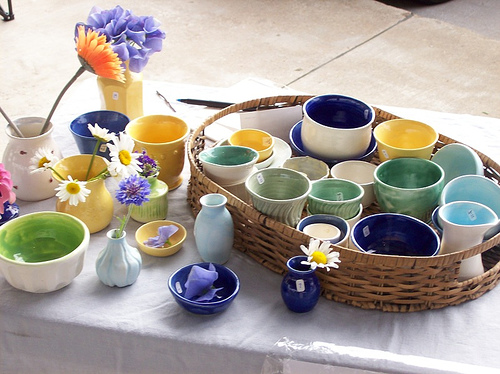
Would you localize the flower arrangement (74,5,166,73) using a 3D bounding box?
[{"bbox_3d":[-0.300,-0.370,1.125,0.197,0.109,0.185,-16,61,-42],"label":"flower arrangement"}]

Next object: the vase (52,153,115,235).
[{"bbox_3d":[-0.339,0.016,0.910,0.111,0.119,0.104,34,55,13],"label":"vase"}]

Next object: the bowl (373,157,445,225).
[{"bbox_3d":[0.335,0.008,1.031,0.161,0.121,0.156,-4,40,3],"label":"bowl"}]

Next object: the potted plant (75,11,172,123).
[{"bbox_3d":[-0.300,-0.302,1.137,0.187,0.260,0.109,-10,42,-14],"label":"potted plant"}]

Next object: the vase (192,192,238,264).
[{"bbox_3d":[-0.062,0.085,0.884,0.092,0.127,0.079,-16,43,-20],"label":"vase"}]

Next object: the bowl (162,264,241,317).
[{"bbox_3d":[-0.083,0.184,0.805,0.112,0.056,0.100,-20,38,-33],"label":"bowl"}]

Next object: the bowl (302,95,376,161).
[{"bbox_3d":[0.195,-0.146,1.099,0.190,0.127,0.171,-4,43,-6],"label":"bowl"}]

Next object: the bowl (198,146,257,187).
[{"bbox_3d":[-0.049,-0.069,0.964,0.103,0.045,0.102,0,34,0],"label":"bowl"}]

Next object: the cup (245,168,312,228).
[{"bbox_3d":[0.051,0.007,0.894,0.130,0.090,0.121,3,43,-2],"label":"cup"}]

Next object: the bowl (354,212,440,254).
[{"bbox_3d":[0.287,0.094,0.836,0.107,0.040,0.104,1,39,-1],"label":"bowl"}]

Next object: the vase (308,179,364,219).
[{"bbox_3d":[0.180,0.021,0.933,0.098,0.044,0.087,-19,40,-34],"label":"vase"}]

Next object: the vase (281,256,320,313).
[{"bbox_3d":[0.101,0.185,0.804,0.065,0.078,0.064,-7,-1,22],"label":"vase"}]

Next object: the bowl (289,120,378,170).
[{"bbox_3d":[0.203,-0.104,1.108,0.148,0.048,0.135,1,40,-1],"label":"bowl"}]

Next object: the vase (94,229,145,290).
[{"bbox_3d":[-0.255,0.135,0.857,0.095,0.084,0.093,12,16,27],"label":"vase"}]

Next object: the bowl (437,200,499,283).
[{"bbox_3d":[0.396,0.101,0.819,0.111,0.114,0.082,-34,46,-19],"label":"bowl"}]

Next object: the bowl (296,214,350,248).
[{"bbox_3d":[0.144,0.077,0.861,0.081,0.027,0.068,16,40,19],"label":"bowl"}]

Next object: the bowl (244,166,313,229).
[{"bbox_3d":[0.054,0.021,0.893,0.119,0.078,0.119,1,39,-1],"label":"bowl"}]

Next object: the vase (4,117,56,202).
[{"bbox_3d":[-0.494,-0.069,1.009,0.112,0.176,0.129,-7,41,-10],"label":"vase"}]

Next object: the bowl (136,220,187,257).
[{"bbox_3d":[-0.186,0.110,0.926,0.100,0.036,0.100,4,25,-2],"label":"bowl"}]

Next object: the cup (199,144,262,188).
[{"bbox_3d":[-0.052,-0.055,0.972,0.102,0.048,0.112,1,35,-1],"label":"cup"}]

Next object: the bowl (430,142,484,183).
[{"bbox_3d":[0.464,-0.057,1.017,0.093,0.082,0.053,-23,4,38],"label":"bowl"}]

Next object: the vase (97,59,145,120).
[{"bbox_3d":[-0.321,-0.242,1.103,0.097,0.121,0.071,40,58,15],"label":"vase"}]

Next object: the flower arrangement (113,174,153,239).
[{"bbox_3d":[-0.232,0.040,0.896,0.076,0.118,0.073,5,52,-26],"label":"flower arrangement"}]

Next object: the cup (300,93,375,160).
[{"bbox_3d":[0.213,-0.151,1.082,0.196,0.130,0.173,-7,40,-10],"label":"cup"}]

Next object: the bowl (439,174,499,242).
[{"bbox_3d":[0.431,0.045,0.956,0.130,0.099,0.129,0,52,0],"label":"bowl"}]

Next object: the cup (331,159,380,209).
[{"bbox_3d":[0.229,-0.012,1.066,0.118,0.084,0.114,0,40,0],"label":"cup"}]

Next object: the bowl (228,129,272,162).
[{"bbox_3d":[0.004,-0.121,1.052,0.094,0.052,0.088,6,46,-7],"label":"bowl"}]

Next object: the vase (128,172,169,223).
[{"bbox_3d":[-0.212,0.024,0.919,0.071,0.074,0.070,38,52,22],"label":"vase"}]

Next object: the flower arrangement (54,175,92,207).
[{"bbox_3d":[-0.326,0.009,0.831,0.068,0.061,0.030,22,-1,-12],"label":"flower arrangement"}]

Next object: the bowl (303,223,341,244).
[{"bbox_3d":[0.145,0.090,0.850,0.044,0.013,0.041,7,24,-3],"label":"bowl"}]

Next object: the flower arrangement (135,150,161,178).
[{"bbox_3d":[-0.209,-0.054,0.966,0.031,0.050,0.053,-33,13,-9],"label":"flower arrangement"}]

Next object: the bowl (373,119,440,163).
[{"bbox_3d":[0.363,-0.089,1.067,0.129,0.082,0.121,-3,46,3],"label":"bowl"}]

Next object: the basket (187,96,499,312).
[{"bbox_3d":[0.124,0.069,0.870,0.543,0.107,0.382,24,40,30],"label":"basket"}]

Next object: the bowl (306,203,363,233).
[{"bbox_3d":[0.210,0.065,0.968,0.070,0.029,0.069,-2,36,1],"label":"bowl"}]
